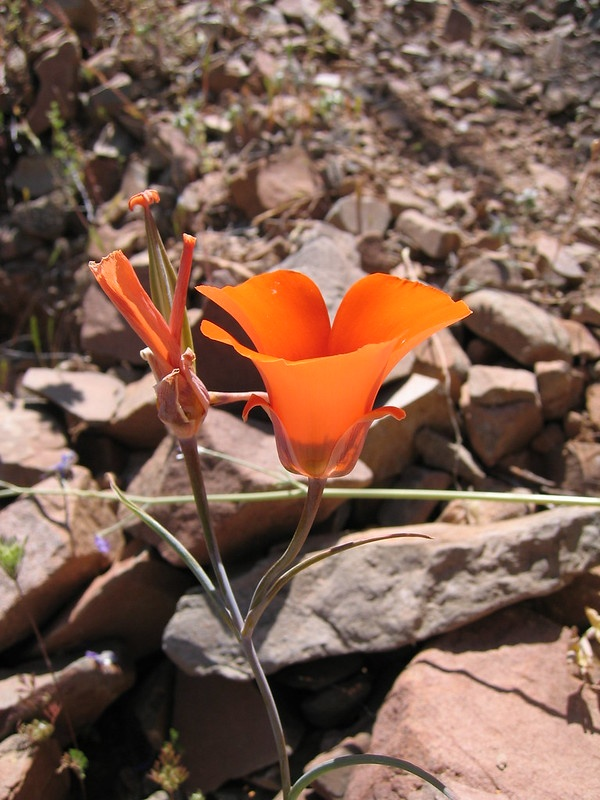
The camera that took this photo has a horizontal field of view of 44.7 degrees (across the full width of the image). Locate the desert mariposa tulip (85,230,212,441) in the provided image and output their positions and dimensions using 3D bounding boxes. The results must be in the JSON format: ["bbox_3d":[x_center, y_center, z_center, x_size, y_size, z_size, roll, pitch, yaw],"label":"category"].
[{"bbox_3d":[-0.206,-0.075,1.038,0.140,0.314,0.140,-6,28,-10],"label":"desert mariposa tulip"}]

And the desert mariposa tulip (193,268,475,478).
[{"bbox_3d":[0.044,-0.008,1.082,0.362,0.243,0.350,7,-4,-19],"label":"desert mariposa tulip"}]
